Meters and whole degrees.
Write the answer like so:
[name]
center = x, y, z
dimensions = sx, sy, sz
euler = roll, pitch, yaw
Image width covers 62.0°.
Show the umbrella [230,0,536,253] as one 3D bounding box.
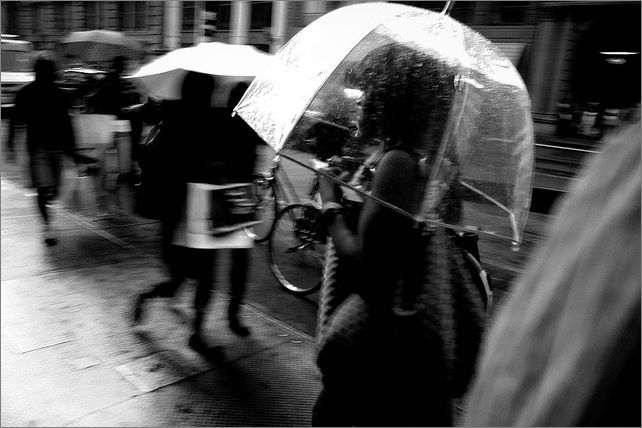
[umbrella]
center = 0.243, -0.465, 3.100
dimensions = 1.557, 0.914, 1.505
euler = 24, 6, -37
